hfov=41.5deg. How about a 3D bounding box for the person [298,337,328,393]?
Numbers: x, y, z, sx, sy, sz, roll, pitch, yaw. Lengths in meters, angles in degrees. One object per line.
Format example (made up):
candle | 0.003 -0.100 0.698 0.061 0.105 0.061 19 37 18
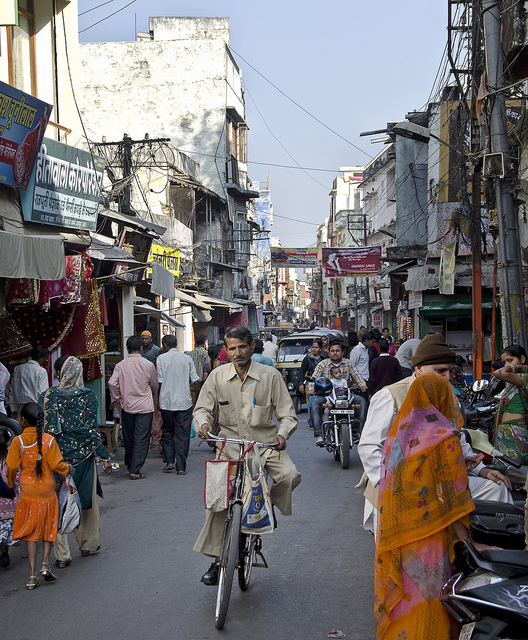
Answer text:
person | 1.068 1.122 14.351 0.566 0.478 1.697 -8 -48 -9

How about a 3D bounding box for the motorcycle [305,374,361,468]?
motorcycle | 1.002 1.476 9.802 0.622 0.990 1.339 0 -2 -2

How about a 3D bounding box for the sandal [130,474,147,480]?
sandal | -1.646 2.053 9.075 0.068 0.063 0.177 2 4 44

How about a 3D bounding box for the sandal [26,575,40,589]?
sandal | -1.565 1.781 4.693 0.038 0.058 0.121 0 -9 -6

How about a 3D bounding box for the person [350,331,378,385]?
person | 1.819 0.713 12.592 0.403 1.653 0.598 -2 7 15

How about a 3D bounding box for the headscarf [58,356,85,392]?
headscarf | -1.506 0.412 5.517 0.243 0.289 0.195 -8 19 -43

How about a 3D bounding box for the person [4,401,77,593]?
person | -1.624 1.222 5.002 0.431 1.246 0.769 1 -4 -30

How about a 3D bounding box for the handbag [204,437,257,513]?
handbag | -0.242 0.893 4.118 0.221 0.471 0.251 6 -4 -15

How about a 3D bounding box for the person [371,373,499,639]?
person | 0.647 0.758 2.863 0.397 1.057 0.270 -1 -3 11

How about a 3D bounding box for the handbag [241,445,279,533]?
handbag | -0.037 1.022 4.187 0.205 0.504 0.295 -1 -3 0

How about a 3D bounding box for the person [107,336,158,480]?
person | -1.736 1.162 9.263 0.616 1.849 0.492 0 -3 -5

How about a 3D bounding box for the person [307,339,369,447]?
person | 1.063 1.207 10.545 0.769 1.260 2.024 -3 2 2

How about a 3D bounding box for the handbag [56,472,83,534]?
handbag | -1.426 1.388 5.102 0.144 0.425 0.353 2 -9 -14

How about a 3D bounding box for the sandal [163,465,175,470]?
sandal | -1.331 2.079 9.768 0.164 0.051 0.112 1 -4 -26
